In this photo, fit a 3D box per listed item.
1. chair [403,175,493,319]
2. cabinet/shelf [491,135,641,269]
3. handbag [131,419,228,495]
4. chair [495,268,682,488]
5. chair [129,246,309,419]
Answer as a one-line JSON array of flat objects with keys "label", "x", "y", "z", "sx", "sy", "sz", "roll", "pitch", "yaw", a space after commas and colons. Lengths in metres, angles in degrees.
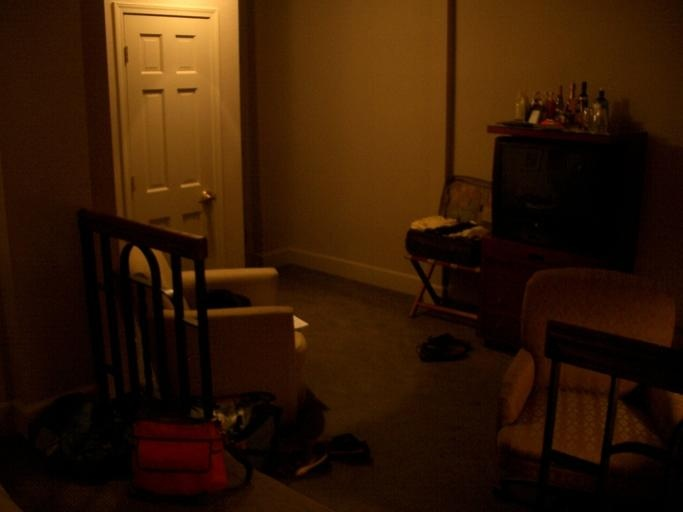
[{"label": "chair", "x": 0.815, "y": -0.051, "z": 4.615, "sx": 0.654, "sy": 1.065, "sz": 0.566, "roll": 10, "pitch": 17, "yaw": 29}, {"label": "cabinet/shelf", "x": 1.414, "y": -0.351, "z": 3.778, "sx": 0.655, "sy": 0.663, "sz": 0.364, "roll": 13, "pitch": 19, "yaw": 43}, {"label": "handbag", "x": -0.721, "y": 0.875, "z": 2.766, "sx": 0.448, "sy": 0.354, "sz": 0.290, "roll": 0, "pitch": 3, "yaw": 2}, {"label": "chair", "x": 1.068, "y": 0.521, "z": 2.937, "sx": 0.736, "sy": 1.131, "sz": 0.950, "roll": 4, "pitch": 8, "yaw": 27}, {"label": "chair", "x": -0.675, "y": 0.407, "z": 3.425, "sx": 0.883, "sy": 1.001, "sz": 0.910, "roll": 1, "pitch": 11, "yaw": -6}]
